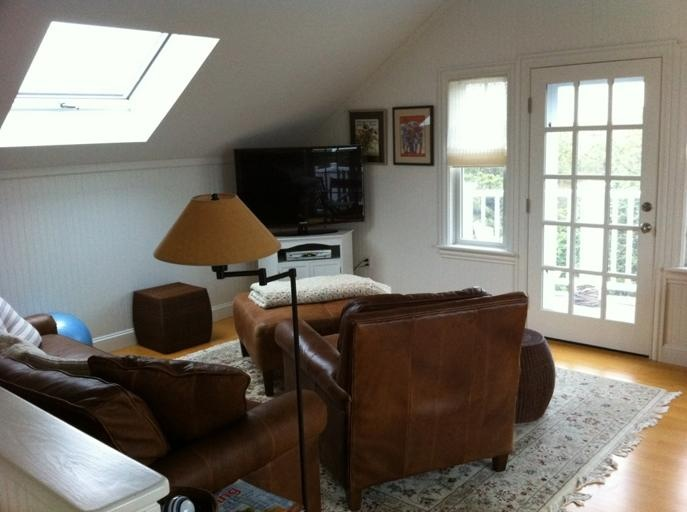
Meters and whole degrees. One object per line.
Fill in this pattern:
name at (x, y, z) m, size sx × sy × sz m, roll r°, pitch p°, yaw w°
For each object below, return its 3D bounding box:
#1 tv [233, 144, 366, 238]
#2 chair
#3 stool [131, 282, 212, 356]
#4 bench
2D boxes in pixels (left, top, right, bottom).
tv at (-0.429, -0.660, 5.276) m, size 1.117 × 0.796 × 0.297 m, roll -3°, pitch 22°, yaw -5°
chair at (0.260, 0.683, 3.086) m, size 1.103 × 0.990 × 1.105 m, roll -3°, pitch 7°, yaw -22°
stool at (-1.536, 0.499, 5.004) m, size 0.568 × 0.567 × 0.649 m, roll 8°, pitch 13°, yaw 40°
bench at (-0.474, 0.537, 4.149) m, size 0.780 × 0.489 × 0.765 m, roll -2°, pitch 12°, yaw -11°
